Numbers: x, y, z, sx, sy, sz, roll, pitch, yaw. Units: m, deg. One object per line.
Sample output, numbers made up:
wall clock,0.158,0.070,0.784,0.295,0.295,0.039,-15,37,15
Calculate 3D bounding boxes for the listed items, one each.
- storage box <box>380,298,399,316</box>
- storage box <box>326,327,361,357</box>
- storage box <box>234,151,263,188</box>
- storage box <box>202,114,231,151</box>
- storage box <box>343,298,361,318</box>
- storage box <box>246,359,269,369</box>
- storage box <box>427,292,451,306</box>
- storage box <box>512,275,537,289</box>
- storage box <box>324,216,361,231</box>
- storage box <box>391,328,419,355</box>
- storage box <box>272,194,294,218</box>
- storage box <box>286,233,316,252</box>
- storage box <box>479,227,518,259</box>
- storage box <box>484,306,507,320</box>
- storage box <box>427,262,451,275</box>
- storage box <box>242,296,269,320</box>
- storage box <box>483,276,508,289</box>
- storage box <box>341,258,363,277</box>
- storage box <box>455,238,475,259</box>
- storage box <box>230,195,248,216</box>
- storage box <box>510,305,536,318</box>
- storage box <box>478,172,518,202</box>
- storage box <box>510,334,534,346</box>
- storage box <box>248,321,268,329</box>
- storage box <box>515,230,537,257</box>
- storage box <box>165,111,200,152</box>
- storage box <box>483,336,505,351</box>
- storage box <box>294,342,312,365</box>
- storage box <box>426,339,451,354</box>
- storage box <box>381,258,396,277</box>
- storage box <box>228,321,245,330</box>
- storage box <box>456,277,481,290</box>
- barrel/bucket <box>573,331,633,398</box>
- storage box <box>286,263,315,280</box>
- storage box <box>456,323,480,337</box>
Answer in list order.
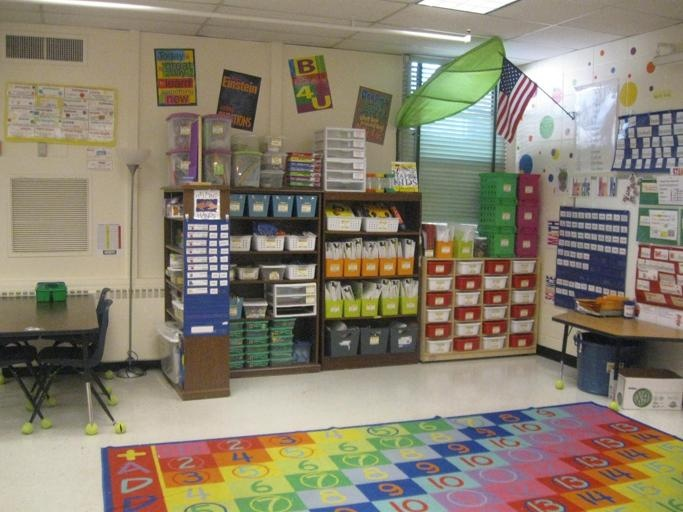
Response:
storage box,0.583,0.615,6.818,0.222,0.208,0.211,1,-1,-17
storage box,0.021,0.993,6.688,0.378,0.358,0.365,0,0,-20
storage box,-1.059,-0.975,6.196,0.332,0.401,0.159,-2,11,-18
storage box,-1.311,-1.295,5.792,0.366,0.342,0.347,0,0,-33
storage box,0.115,0.606,6.702,0.266,0.262,0.193,0,1,-20
storage box,-0.961,1.228,6.338,0.269,0.095,0.075,-2,11,-18
storage box,1.236,0.533,6.959,0.256,0.122,0.164,0,3,-24
storage box,2.397,0.333,7.249,0.258,0.138,0.179,-1,5,-19
storage box,0.030,-0.378,6.565,0.292,0.120,0.195,0,3,-14
storage box,0.764,1.029,6.856,0.317,0.300,0.321,-1,-1,24
storage box,-0.687,-0.573,6.359,0.249,0.238,0.248,-1,4,-11
storage box,-0.470,-0.150,6.426,0.281,0.140,0.199,0,4,-8
storage box,2.072,-0.267,7.363,0.351,0.419,0.578,-1,5,-10
storage box,1.981,0.725,7.134,0.246,0.117,0.171,-1,4,-11
storage box,1.242,0.146,6.958,0.233,0.111,0.179,0,3,-6
storage box,-1.005,0.609,6.425,0.278,0.179,0.341,0,10,-5
storage box,1.988,0.336,7.181,0.241,0.122,0.170,-1,4,-6
storage box,0.125,0.141,6.730,0.221,0.208,0.207,2,-3,-15
storage box,1.561,-0.108,7.171,0.284,0.277,0.213,0,2,-27
storage box,-1.149,-0.555,6.194,0.214,0.292,0.246,0,3,4
storage box,2.390,0.719,7.259,0.263,0.125,0.179,-1,4,-21
storage box,2.051,-0.915,7.333,0.338,0.432,0.612,-3,8,-20
storage box,2.370,1.101,7.262,0.256,0.121,0.165,0,3,-16
storage box,-0.971,0.780,6.310,0.237,0.105,0.029,-3,11,-20
storage box,2.432,-0.173,7.283,0.318,0.424,0.314,1,-1,-8
storage box,-1.663,-1.308,5.803,0.422,0.394,0.399,-2,4,-23
storage box,1.971,1.120,7.148,0.251,0.121,0.174,-1,3,-4
storage box,-0.470,1.145,6.524,0.255,0.254,0.189,0,2,-8
storage box,1.232,1.139,6.964,0.254,0.120,0.178,0,3,-13
storage box,0.559,0.132,6.775,0.222,0.212,0.216,1,-1,-18
storage box,-1.185,0.785,6.238,0.112,0.062,0.110,1,-1,-24
storage box,1.621,0.341,7.103,0.260,0.123,0.179,-1,3,-15
barrel/bucket,2.853,1.170,6.101,0.631,0.559,0.622,2,4,0
storage box,-0.469,0.176,6.419,0.246,0.116,0.189,-1,3,-14
storage box,1.622,0.935,7.055,0.255,0.121,0.179,0,2,-11
